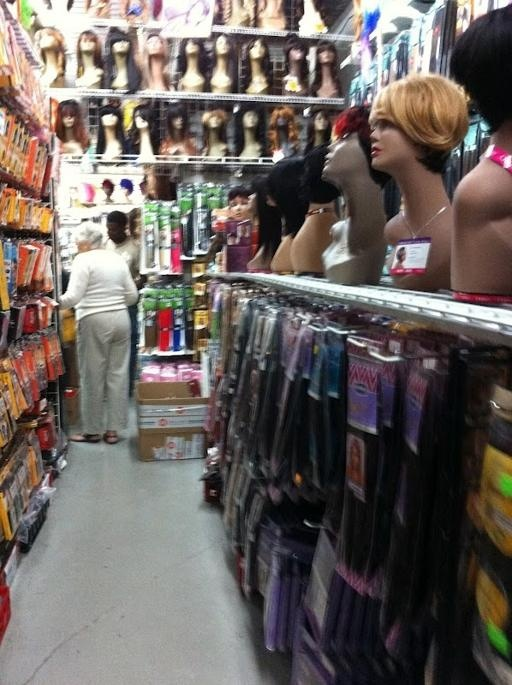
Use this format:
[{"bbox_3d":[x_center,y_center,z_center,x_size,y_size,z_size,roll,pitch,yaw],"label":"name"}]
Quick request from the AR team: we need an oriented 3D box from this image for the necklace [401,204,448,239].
[{"bbox_3d":[0.366,-0.261,0.974,0.023,0.080,0.101,11,8,-13],"label":"necklace"}]

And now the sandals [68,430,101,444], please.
[{"bbox_3d":[-1.493,0.868,3.914,0.270,0.098,0.110,8,-8,-11],"label":"sandals"}]

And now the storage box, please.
[{"bbox_3d":[-0.733,0.597,3.856,0.715,0.649,0.658,-1,14,-13],"label":"storage box"}]

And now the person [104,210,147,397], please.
[{"bbox_3d":[-1.441,-0.368,5.068,0.427,2.161,0.525,0,9,-8],"label":"person"}]
